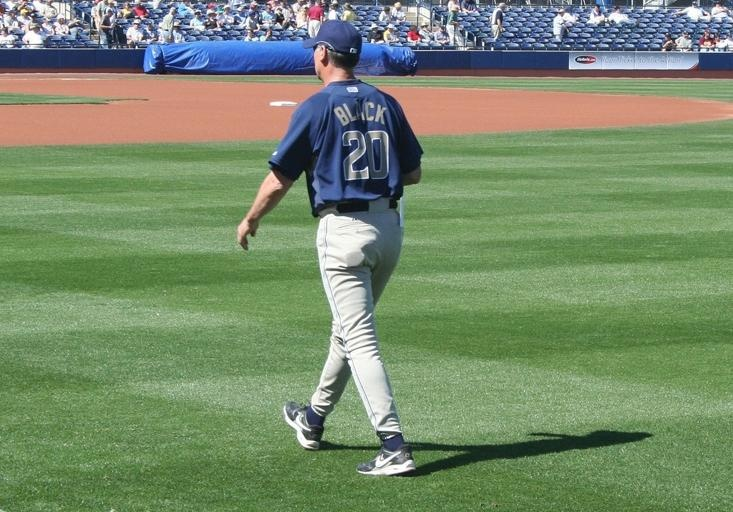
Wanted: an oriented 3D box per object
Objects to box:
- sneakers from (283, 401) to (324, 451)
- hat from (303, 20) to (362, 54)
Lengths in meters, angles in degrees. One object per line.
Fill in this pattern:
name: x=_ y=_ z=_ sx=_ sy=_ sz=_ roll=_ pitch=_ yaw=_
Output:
sneakers: x=-0.624 y=1.600 z=15.334 sx=0.235 sy=0.240 sz=0.570 roll=-6 pitch=34 yaw=-36
hat: x=-0.265 y=-2.034 z=15.289 sx=0.731 sy=0.310 sz=0.503 roll=5 pitch=8 yaw=10
